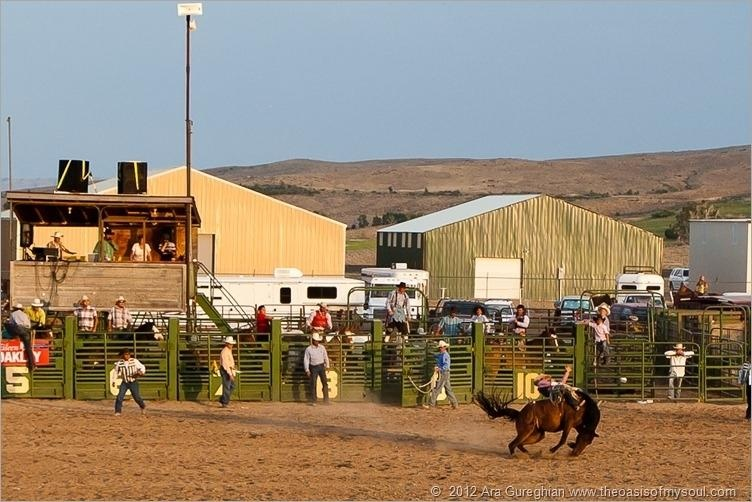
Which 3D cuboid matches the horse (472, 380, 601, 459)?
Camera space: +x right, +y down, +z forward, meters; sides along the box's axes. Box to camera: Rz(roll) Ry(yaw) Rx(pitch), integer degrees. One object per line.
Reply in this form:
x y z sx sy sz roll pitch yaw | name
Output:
5.224 5.579 51.483 3.390 2.389 3.509 -2 -1 38 | horse

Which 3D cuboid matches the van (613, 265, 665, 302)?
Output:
11.913 1.522 72.250 1.898 1.884 3.284 1 3 1 | van

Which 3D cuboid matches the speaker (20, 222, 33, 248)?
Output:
-12.807 -0.561 59.369 0.492 0.909 0.338 3 -5 -28 | speaker

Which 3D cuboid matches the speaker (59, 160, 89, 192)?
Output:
-11.109 -2.701 59.493 1.149 1.209 0.688 1 -5 -13 | speaker

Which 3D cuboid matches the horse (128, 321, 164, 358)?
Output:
-8.054 3.141 57.163 1.162 1.295 1.444 1 -5 -4 | horse

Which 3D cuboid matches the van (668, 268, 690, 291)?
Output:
16.666 1.577 88.947 1.192 0.933 2.087 3 8 32 | van

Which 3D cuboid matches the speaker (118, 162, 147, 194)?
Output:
-9.020 -2.694 60.124 1.035 1.148 1.412 1 -5 -11 | speaker

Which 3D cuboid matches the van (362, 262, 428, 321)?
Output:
0.818 1.601 67.953 1.616 1.777 2.926 0 -4 -5 | van
